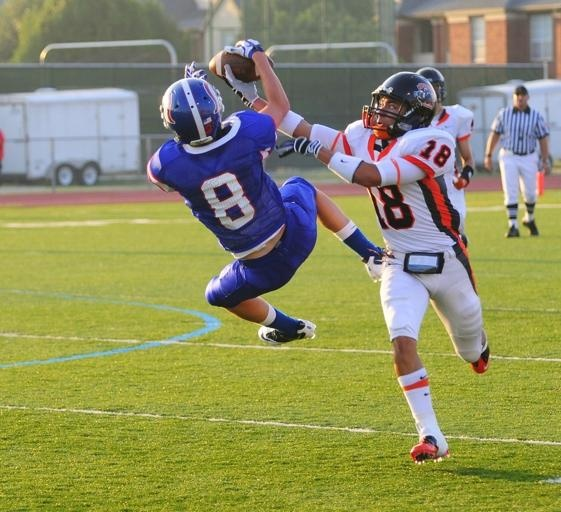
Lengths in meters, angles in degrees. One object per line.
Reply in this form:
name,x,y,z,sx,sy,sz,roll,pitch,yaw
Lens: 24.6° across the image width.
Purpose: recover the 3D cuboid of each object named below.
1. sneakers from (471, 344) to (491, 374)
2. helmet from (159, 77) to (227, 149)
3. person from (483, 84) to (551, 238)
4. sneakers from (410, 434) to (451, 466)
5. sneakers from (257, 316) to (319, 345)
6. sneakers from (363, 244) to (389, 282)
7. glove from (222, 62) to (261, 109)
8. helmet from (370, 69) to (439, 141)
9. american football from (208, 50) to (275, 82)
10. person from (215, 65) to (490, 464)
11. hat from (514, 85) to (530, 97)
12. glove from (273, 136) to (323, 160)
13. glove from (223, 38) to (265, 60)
sneakers,1.110,0.534,7.066,0.075,0.210,0.089,15,-38,9
helmet,-0.423,-0.726,6.604,0.302,0.347,0.289,-8,-14,5
person,2.465,-0.953,13.523,0.646,1.662,0.694,2,12,9
sneakers,0.740,0.956,6.342,0.093,0.132,0.251,-37,-21,8
sneakers,0.037,0.442,7.603,0.404,0.159,0.133,0,10,10
sneakers,0.535,0.038,7.266,0.079,0.172,0.126,-23,-5,0
glove,-0.224,-0.946,7.042,0.170,0.211,0.083,-48,18,-12
helmet,0.615,-0.782,6.656,0.391,0.293,0.306,-3,5,-28
american football,-0.216,-1.019,6.908,0.297,0.168,0.161,5,0,10
person,0.629,0.017,6.693,0.776,1.895,1.162,-9,15,-36
hat,2.468,-1.710,13.237,0.118,0.136,0.147,-8,-11,8
glove,0.096,-0.565,6.708,0.155,0.057,0.155,-8,-4,27
glove,-0.208,-1.113,6.913,0.161,0.068,0.118,3,14,7
